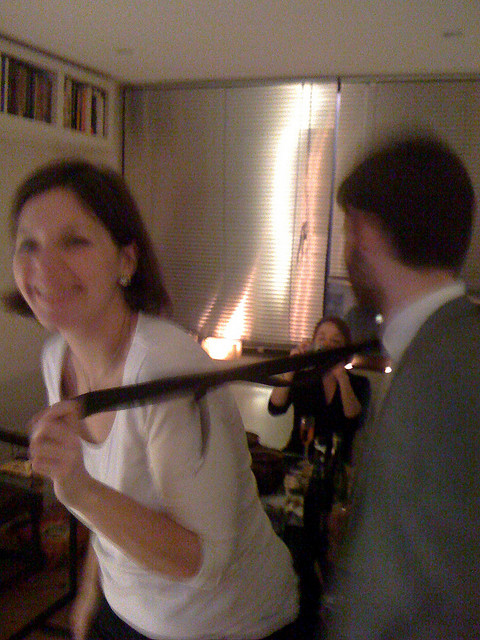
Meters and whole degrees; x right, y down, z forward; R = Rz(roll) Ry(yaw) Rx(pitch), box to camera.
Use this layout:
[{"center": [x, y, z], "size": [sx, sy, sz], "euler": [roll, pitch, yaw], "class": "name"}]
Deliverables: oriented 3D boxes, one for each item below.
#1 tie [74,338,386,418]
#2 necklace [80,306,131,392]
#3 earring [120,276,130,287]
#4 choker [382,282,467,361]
[{"center": [0.001, 0.040, 0.388], "size": [0.192, 0.031, 0.023], "euler": [-9, 12, 21], "class": "tie"}, {"center": [-0.111, 0.026, 0.463], "size": [0.007, 0.086, 0.096], "euler": [-7, 11, -38], "class": "necklace"}, {"center": [-0.082, -0.027, 0.405], "size": [0.007, 0.009, 0.007], "euler": [3, 10, 20], "class": "earring"}, {"center": [0.107, 0.002, 0.336], "size": [0.048, 0.052, 0.019], "euler": [5, 10, 28], "class": "choker"}]
